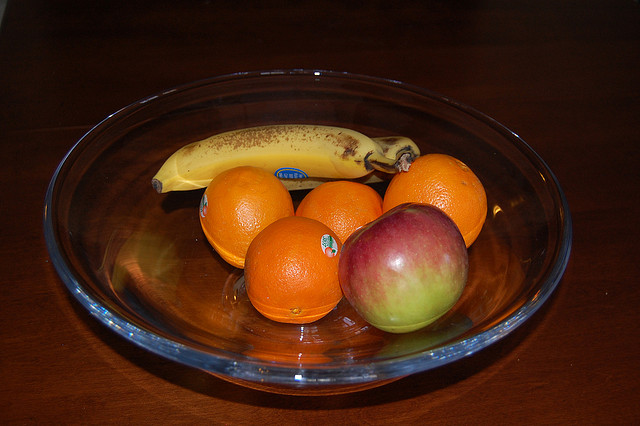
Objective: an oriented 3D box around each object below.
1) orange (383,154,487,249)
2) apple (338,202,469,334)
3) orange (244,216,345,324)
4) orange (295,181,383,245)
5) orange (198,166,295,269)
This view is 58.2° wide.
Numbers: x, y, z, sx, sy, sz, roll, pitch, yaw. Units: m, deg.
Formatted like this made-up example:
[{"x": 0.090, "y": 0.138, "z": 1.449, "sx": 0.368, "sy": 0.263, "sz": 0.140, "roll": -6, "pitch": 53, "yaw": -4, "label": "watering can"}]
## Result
[{"x": 0.260, "y": -0.031, "z": 1.305, "sx": 0.217, "sy": 0.216, "sz": 0.191, "roll": -7, "pitch": 82, "yaw": -36, "label": "orange"}, {"x": 0.165, "y": 0.105, "z": 1.216, "sx": 0.257, "sy": 0.244, "sz": 0.227, "roll": -36, "pitch": 81, "yaw": 11, "label": "apple"}, {"x": -0.055, "y": 0.104, "z": 1.221, "sx": 0.207, "sy": 0.227, "sz": 0.203, "roll": 10, "pitch": 104, "yaw": 33, "label": "orange"}, {"x": 0.037, "y": -0.013, "z": 1.232, "sx": 0.150, "sy": 0.144, "sz": 0.101, "roll": 1, "pitch": 95, "yaw": 17, "label": "orange"}, {"x": -0.160, "y": 0.009, "z": 1.325, "sx": 0.220, "sy": 0.209, "sz": 0.222, "roll": -8, "pitch": 94, "yaw": -45, "label": "orange"}]
